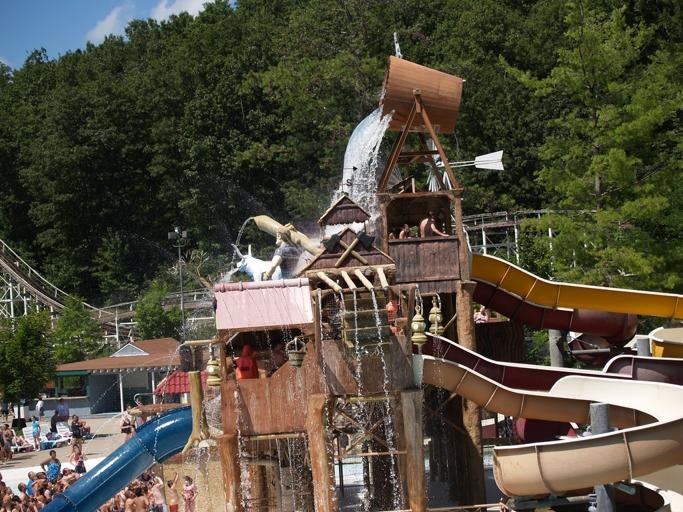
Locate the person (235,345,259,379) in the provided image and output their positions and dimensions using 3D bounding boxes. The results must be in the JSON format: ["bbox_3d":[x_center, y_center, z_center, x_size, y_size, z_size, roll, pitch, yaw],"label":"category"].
[{"bbox_3d":[-2.930,3.585,32.089,0.682,1.754,0.486,2,-6,0],"label":"person"}]

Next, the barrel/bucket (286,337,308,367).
[{"bbox_3d":[-1.326,2.845,31.306,0.723,1.212,0.710,0,-14,0],"label":"barrel/bucket"}]

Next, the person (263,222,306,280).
[{"bbox_3d":[-1.882,-0.158,34.849,0.597,2.870,1.626,8,47,-18],"label":"person"}]
